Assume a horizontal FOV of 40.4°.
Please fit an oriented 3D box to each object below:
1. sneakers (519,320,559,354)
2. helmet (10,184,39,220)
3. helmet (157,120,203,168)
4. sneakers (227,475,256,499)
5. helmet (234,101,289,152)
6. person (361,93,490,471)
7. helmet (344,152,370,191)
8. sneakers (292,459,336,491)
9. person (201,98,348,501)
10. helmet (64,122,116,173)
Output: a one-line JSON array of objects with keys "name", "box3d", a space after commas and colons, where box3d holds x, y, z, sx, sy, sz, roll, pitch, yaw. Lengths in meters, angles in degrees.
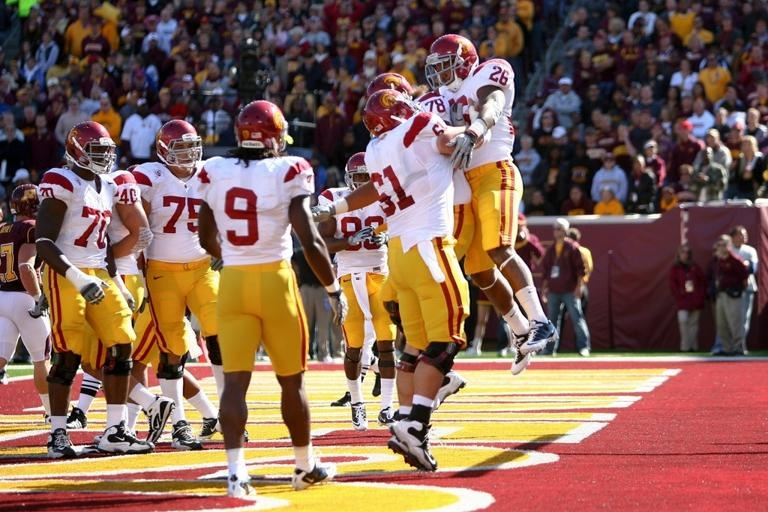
[{"name": "sneakers", "box3d": [1.428, 0.729, 9.599, 0.382, 0.295, 0.208, -1, -2, -38]}, {"name": "helmet", "box3d": [-3.569, -0.559, 10.347, 0.238, 0.339, 0.448, -1, -1, -20]}, {"name": "helmet", "box3d": [-1.810, -1.026, 9.597, 0.375, 0.382, 0.470, -6, 13, -41]}, {"name": "sneakers", "box3d": [-1.068, 1.709, 7.711, 0.139, 0.193, 0.198, -4, -11, 25]}, {"name": "helmet", "box3d": [-0.917, -1.036, 8.215, 0.339, 0.369, 0.439, 11, 16, 16]}, {"name": "person", "box3d": [0.270, -0.012, 8.575, 0.795, 2.768, 0.550, -2, -2, 10]}, {"name": "helmet", "box3d": [-0.356, -0.884, 10.859, 0.328, 0.339, 0.386, -2, 3, -11]}, {"name": "sneakers", "box3d": [-0.520, 1.621, 7.977, 0.408, 0.166, 0.144, -14, 21, -38]}, {"name": "person", "box3d": [-0.888, 0.272, 7.967, 0.990, 2.977, 0.460, -2, -2, -12]}, {"name": "helmet", "box3d": [-2.668, -0.965, 9.221, 0.484, 0.394, 0.399, 15, 12, 31]}]
